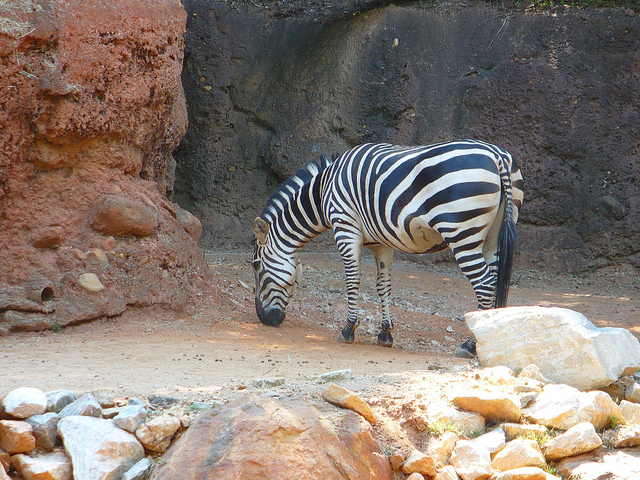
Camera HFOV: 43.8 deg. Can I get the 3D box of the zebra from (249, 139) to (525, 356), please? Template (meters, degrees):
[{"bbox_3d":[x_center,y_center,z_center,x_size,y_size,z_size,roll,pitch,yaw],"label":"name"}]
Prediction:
[{"bbox_3d":[0.812,0.078,10.172,3.337,2.710,0.924,6,8,28],"label":"zebra"}]
